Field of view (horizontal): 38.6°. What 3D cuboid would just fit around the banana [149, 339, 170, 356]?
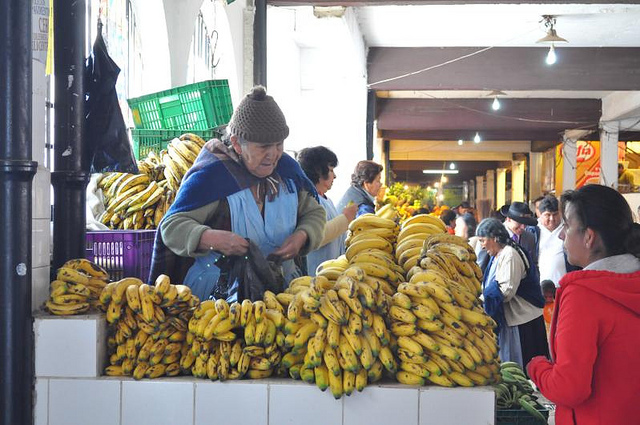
[{"bbox_3d":[-1.167,0.979,6.659,0.080,0.161,0.054,46,-18,4],"label":"banana"}]

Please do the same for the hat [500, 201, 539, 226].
[{"bbox_3d":[2.236,0.064,10.327,0.371,0.172,0.327,29,19,29],"label":"hat"}]

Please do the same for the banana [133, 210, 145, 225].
[{"bbox_3d":[-1.520,0.032,7.678,0.039,0.150,0.055,8,-49,12],"label":"banana"}]

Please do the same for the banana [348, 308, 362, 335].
[{"bbox_3d":[0.253,0.786,6.440,0.054,0.213,0.062,11,-19,-35],"label":"banana"}]

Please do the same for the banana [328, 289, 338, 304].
[{"bbox_3d":[0.089,0.603,6.478,0.067,0.095,0.062,1,-2,0],"label":"banana"}]

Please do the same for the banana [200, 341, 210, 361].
[{"bbox_3d":[-0.828,1.007,6.563,0.055,0.140,0.042,0,-5,3],"label":"banana"}]

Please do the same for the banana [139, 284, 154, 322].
[{"bbox_3d":[-1.257,0.655,6.619,0.077,0.304,0.079,-16,-27,12],"label":"banana"}]

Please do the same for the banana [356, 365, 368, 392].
[{"bbox_3d":[0.297,1.177,6.470,0.050,0.205,0.054,8,-9,-14],"label":"banana"}]

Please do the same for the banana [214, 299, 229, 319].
[{"bbox_3d":[-0.709,0.700,6.567,0.119,0.138,0.099,0,-2,3],"label":"banana"}]

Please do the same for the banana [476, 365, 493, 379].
[{"bbox_3d":[1.168,1.143,6.499,0.138,0.068,0.045,47,-13,-1],"label":"banana"}]

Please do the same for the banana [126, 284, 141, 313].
[{"bbox_3d":[-1.348,0.619,6.602,0.074,0.256,0.066,13,-42,-37],"label":"banana"}]

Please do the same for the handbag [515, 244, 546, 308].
[{"bbox_3d":[2.015,0.628,8.880,0.301,0.594,0.321,1,-2,-2],"label":"handbag"}]

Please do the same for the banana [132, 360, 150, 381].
[{"bbox_3d":[-1.292,1.152,6.661,0.077,0.161,0.054,28,-15,23],"label":"banana"}]

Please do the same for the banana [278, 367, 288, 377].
[{"bbox_3d":[-0.272,1.167,6.603,0.055,0.061,0.031,33,-9,-11],"label":"banana"}]

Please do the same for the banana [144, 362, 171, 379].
[{"bbox_3d":[-1.185,1.154,6.619,0.153,0.086,0.057,-21,-7,-16],"label":"banana"}]

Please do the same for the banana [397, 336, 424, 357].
[{"bbox_3d":[0.641,0.949,6.526,0.194,0.075,0.097,32,-39,22],"label":"banana"}]

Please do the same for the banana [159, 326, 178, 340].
[{"bbox_3d":[-1.102,0.880,6.636,0.116,0.091,0.031,1,-2,-23],"label":"banana"}]

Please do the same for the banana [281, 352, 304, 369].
[{"bbox_3d":[-0.197,1.071,6.584,0.156,0.079,0.083,-19,-28,5],"label":"banana"}]

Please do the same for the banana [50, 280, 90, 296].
[{"bbox_3d":[-1.853,0.562,6.759,0.300,0.114,0.041,0,-2,6],"label":"banana"}]

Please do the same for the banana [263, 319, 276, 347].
[{"bbox_3d":[-0.358,0.868,6.505,0.082,0.179,0.044,14,-18,-14],"label":"banana"}]

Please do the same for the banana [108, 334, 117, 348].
[{"bbox_3d":[-1.501,0.952,6.713,0.066,0.097,0.073,-11,-8,9],"label":"banana"}]

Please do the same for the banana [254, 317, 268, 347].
[{"bbox_3d":[-0.423,0.859,6.501,0.055,0.247,0.074,9,-9,24],"label":"banana"}]

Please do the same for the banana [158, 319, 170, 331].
[{"bbox_3d":[-1.136,0.833,6.632,0.030,0.116,0.039,38,-4,-38],"label":"banana"}]

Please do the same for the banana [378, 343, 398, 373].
[{"bbox_3d":[0.473,1.056,6.550,0.104,0.144,0.383,-7,8,-3],"label":"banana"}]

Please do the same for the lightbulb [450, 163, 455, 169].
[{"bbox_3d":[3.939,-1.403,27.290,0.062,0.159,0.114,-2,8,-30],"label":"lightbulb"}]

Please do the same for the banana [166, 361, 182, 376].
[{"bbox_3d":[-1.068,1.144,6.644,0.120,0.080,0.060,-13,10,-34],"label":"banana"}]

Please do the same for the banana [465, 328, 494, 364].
[{"bbox_3d":[1.156,1.024,6.525,0.117,0.425,0.108,0,-28,21],"label":"banana"}]

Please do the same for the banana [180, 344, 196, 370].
[{"bbox_3d":[-0.962,1.067,6.687,0.076,0.189,0.057,11,-17,8],"label":"banana"}]

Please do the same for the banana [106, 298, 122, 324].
[{"bbox_3d":[-1.502,0.736,6.690,0.079,0.191,0.057,-6,-10,3],"label":"banana"}]

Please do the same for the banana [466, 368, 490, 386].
[{"bbox_3d":[1.115,1.189,6.496,0.213,0.070,0.076,31,11,-19],"label":"banana"}]

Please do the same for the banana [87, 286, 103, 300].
[{"bbox_3d":[-1.672,0.602,6.787,0.086,0.098,0.035,1,-2,-19],"label":"banana"}]

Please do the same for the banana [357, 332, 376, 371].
[{"bbox_3d":[0.325,1.003,6.444,0.072,0.304,0.093,-9,-20,-4],"label":"banana"}]

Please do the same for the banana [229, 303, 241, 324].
[{"bbox_3d":[-0.611,0.725,6.524,0.063,0.140,0.070,11,-18,25],"label":"banana"}]

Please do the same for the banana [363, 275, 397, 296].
[{"bbox_3d":[0.418,0.530,6.593,0.198,0.062,0.073,-20,-40,15],"label":"banana"}]

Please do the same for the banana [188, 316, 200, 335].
[{"bbox_3d":[-0.916,0.819,6.603,0.058,0.116,0.029,-3,-12,43],"label":"banana"}]

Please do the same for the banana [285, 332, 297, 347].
[{"bbox_3d":[-0.215,0.917,6.494,0.043,0.096,0.056,18,-25,34],"label":"banana"}]

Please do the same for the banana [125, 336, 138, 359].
[{"bbox_3d":[-1.365,1.002,6.648,0.069,0.163,0.048,-24,-27,39],"label":"banana"}]

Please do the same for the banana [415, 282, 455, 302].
[{"bbox_3d":[0.840,0.567,6.502,0.332,0.138,0.108,4,-8,10],"label":"banana"}]

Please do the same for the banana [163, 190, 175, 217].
[{"bbox_3d":[-1.288,-0.109,7.793,0.067,0.294,0.084,12,-23,-37],"label":"banana"}]

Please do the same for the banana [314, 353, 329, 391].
[{"bbox_3d":[0.013,1.167,6.534,0.068,0.284,0.082,-1,-1,-13],"label":"banana"}]

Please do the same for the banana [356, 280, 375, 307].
[{"bbox_3d":[0.332,0.573,6.464,0.068,0.112,0.222,53,-6,-39],"label":"banana"}]

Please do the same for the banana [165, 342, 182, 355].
[{"bbox_3d":[-1.061,1.002,6.638,0.102,0.051,0.059,-20,-19,20],"label":"banana"}]

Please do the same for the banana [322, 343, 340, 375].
[{"bbox_3d":[0.079,1.051,6.504,0.074,0.279,0.082,-8,-14,-17],"label":"banana"}]

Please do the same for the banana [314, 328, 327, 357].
[{"bbox_3d":[0.000,0.921,6.453,0.065,0.232,0.065,-2,-26,25],"label":"banana"}]

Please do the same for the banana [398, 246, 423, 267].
[{"bbox_3d":[0.676,0.323,6.963,0.132,0.170,0.055,26,-6,39],"label":"banana"}]

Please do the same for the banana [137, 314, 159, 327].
[{"bbox_3d":[-1.231,0.783,6.589,0.099,0.035,0.027,42,-50,-10],"label":"banana"}]

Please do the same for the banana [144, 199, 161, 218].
[{"bbox_3d":[-1.409,-0.058,7.797,0.058,0.252,0.093,19,-49,8],"label":"banana"}]

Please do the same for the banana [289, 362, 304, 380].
[{"bbox_3d":[-0.178,1.150,6.561,0.061,0.047,0.137,21,36,7],"label":"banana"}]

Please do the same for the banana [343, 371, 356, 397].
[{"bbox_3d":[0.200,1.214,6.468,0.056,0.212,0.052,-3,-8,22],"label":"banana"}]

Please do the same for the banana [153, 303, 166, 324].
[{"bbox_3d":[-1.157,0.739,6.621,0.047,0.177,0.054,-23,1,30],"label":"banana"}]
